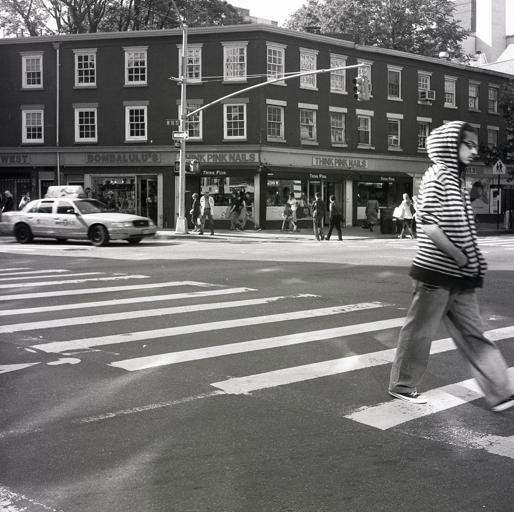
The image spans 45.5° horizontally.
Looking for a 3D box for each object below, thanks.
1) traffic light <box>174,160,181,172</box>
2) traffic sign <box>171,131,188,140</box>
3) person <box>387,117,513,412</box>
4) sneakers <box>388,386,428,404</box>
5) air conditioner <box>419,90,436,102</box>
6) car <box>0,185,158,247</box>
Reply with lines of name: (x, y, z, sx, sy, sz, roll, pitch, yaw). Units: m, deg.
traffic light: (-3.620, -4.052, 27.906, 0.207, 0.504, 0.423, -1, 4, -15)
traffic sign: (-3.404, -5.314, 27.112, 0.585, 0.436, 0.772, -1, 5, -15)
person: (1.445, 0.071, 4.530, 0.817, 2.123, 0.417, 0, 3, -1)
sneakers: (1.160, 1.061, 4.673, 0.279, 0.145, 0.112, 3, 4, 16)
air conditioner: (11.278, -10.415, 40.111, 1.347, 0.725, 0.484, -2, 5, -31)
car: (-6.652, -1.266, 22.492, 5.180, 1.687, 1.642, 3, 5, 27)
